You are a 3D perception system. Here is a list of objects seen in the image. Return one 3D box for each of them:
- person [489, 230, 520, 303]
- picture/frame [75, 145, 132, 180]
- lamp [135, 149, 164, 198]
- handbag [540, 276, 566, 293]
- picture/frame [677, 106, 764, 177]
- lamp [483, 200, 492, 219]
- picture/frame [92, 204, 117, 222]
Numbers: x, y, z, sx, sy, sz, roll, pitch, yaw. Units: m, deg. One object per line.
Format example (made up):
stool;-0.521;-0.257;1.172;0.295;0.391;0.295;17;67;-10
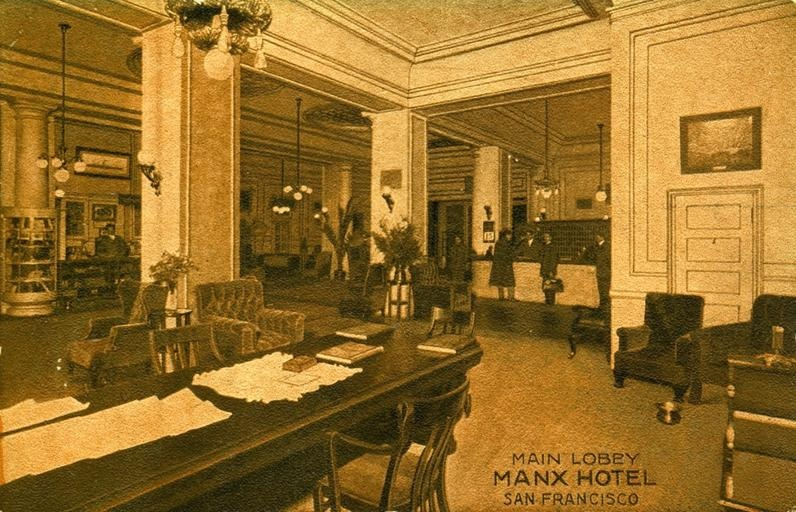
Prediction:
person;1.864;0.171;10.076;0.461;1.250;0.516;3;2;7
picture/frame;-5.941;-1.853;11.408;1.390;0.515;0.093;-4;22;-44
lamp;-2.730;-0.891;6.275;0.249;0.502;0.216;2;2;-24
handbag;2.463;0.468;9.088;0.202;0.255;0.325;0;2;-43
picture/frame;3.420;-1.192;5.976;1.363;0.676;0.088;1;4;29
lamp;1.846;-0.893;11.725;0.079;0.335;0.230;1;2;-32
picture/frame;-6.208;-0.894;11.997;0.064;0.281;0.596;9;7;39
